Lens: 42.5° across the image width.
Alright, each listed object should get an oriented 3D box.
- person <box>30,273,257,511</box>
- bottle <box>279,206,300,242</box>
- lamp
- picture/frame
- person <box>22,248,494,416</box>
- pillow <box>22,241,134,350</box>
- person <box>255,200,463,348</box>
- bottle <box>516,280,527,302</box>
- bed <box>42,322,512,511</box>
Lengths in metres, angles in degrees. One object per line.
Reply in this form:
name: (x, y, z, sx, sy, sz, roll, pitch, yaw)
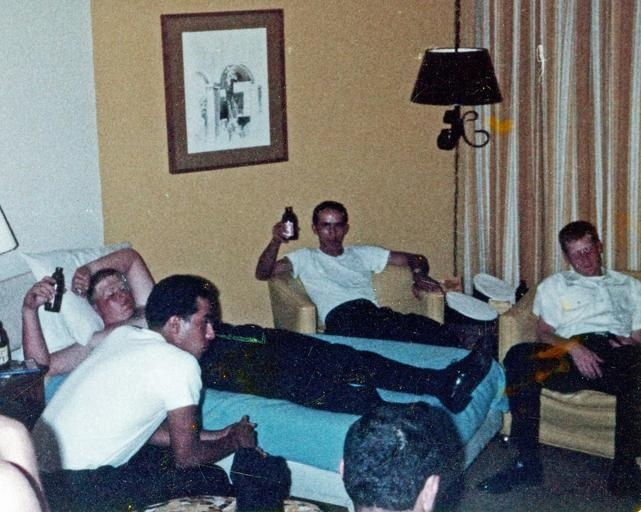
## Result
person: (-0.616, 0.435, 3.097, 0.780, 0.675, 0.589, -6, 18, -19)
bottle: (-0.169, -0.161, 4.421, 0.115, 0.176, 0.120, -1, -4, 0)
lamp: (0.730, -0.959, 4.470, 0.492, 0.904, 1.296, 1, 13, 12)
picture/frame: (-0.525, -0.871, 4.263, 0.766, 0.953, 0.039, -9, 13, -34)
person: (-0.292, 0.411, 3.559, 1.722, 0.557, 0.835, 15, 18, 5)
pillow: (-1.102, 0.187, 3.623, 0.106, 0.436, 0.396, -10, 1, 37)
person: (0.308, 0.124, 4.213, 0.938, 0.741, 1.180, -8, 10, -40)
bottle: (1.085, 0.195, 4.458, 0.047, 0.069, 0.123, 11, 23, 3)
bed: (0.040, 0.677, 3.334, 1.324, 0.371, 0.869, 3, 12, 17)
